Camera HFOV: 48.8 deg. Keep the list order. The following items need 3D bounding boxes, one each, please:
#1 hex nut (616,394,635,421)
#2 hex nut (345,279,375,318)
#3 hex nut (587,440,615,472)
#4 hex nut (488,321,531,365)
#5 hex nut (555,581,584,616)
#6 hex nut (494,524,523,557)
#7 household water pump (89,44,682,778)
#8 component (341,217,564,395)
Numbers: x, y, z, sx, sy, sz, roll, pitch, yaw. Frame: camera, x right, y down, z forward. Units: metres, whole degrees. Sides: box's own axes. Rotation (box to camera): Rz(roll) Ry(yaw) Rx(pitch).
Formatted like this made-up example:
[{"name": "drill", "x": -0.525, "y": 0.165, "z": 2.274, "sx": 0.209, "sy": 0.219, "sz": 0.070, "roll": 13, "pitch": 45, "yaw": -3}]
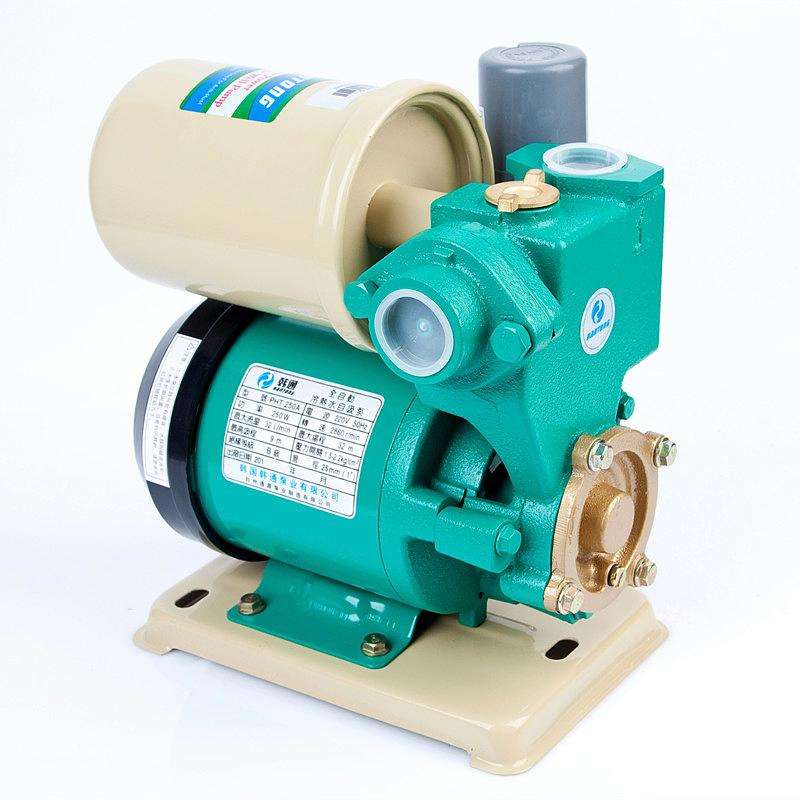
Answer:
[{"name": "hex nut", "x": 0.445, "y": 0.013, "z": 1.747, "sx": 0.048, "sy": 0.041, "sz": 0.033, "roll": 14, "pitch": 48, "yaw": 27}, {"name": "hex nut", "x": -0.067, "y": -0.166, "z": 1.452, "sx": 0.070, "sy": 0.053, "sz": 0.053, "roll": 6, "pitch": 18, "yaw": 12}, {"name": "hex nut", "x": 0.362, "y": 0.104, "z": 1.618, "sx": 0.050, "sy": 0.055, "sz": 0.023, "roll": 4, "pitch": 6, "yaw": -31}, {"name": "hex nut", "x": 0.168, "y": -0.088, "z": 1.341, "sx": 0.067, "sy": 0.055, "sz": 0.031, "roll": 9, "pitch": 34, "yaw": 30}, {"name": "hex nut", "x": 0.315, "y": 0.373, "z": 1.653, "sx": 0.052, "sy": 0.076, "sz": 0.038, "roll": -10, "pitch": 14, "yaw": 7}, {"name": "hex nut", "x": 0.196, "y": 0.256, "z": 1.617, "sx": 0.039, "sy": 0.057, "sz": 0.069, "roll": 9, "pitch": -3, "yaw": 36}, {"name": "household water pump", "x": -0.099, "y": -0.177, "z": 2.480, "sx": 1.863, "sy": 1.570, "sz": 1.206, "roll": 12, "pitch": 26, "yaw": 29}, {"name": "component", "x": 0.097, "y": -0.158, "z": 1.423, "sx": 0.346, "sy": 0.220, "sz": 0.165, "roll": 7, "pitch": 33, "yaw": 31}]
